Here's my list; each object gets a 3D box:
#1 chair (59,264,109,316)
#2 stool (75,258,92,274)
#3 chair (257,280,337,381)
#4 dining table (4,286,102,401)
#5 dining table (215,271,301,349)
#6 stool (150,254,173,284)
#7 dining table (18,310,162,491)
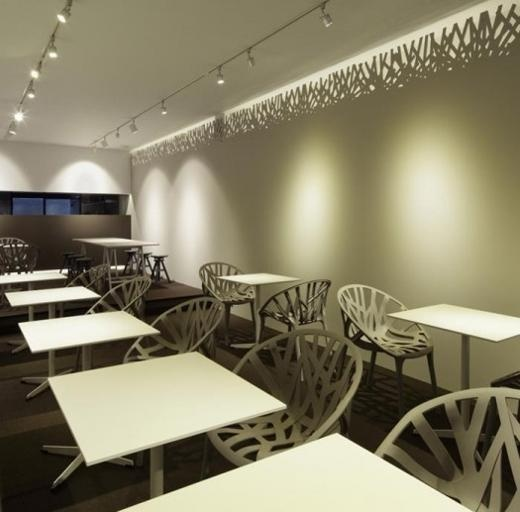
[{"bbox_3d":[-2.010,0.403,4.659,0.531,0.854,0.567,4,0,-34],"label":"chair"},{"bbox_3d":[-2.982,0.140,6.849,0.247,0.324,0.248,9,11,44],"label":"stool"},{"bbox_3d":[0.355,0.577,3.828,0.666,1.005,0.618,-4,8,-40],"label":"chair"},{"bbox_3d":[-1.690,0.642,3.438,0.779,0.952,0.777,-2,5,-36],"label":"dining table"},{"bbox_3d":[0.006,0.420,4.298,0.727,0.884,0.756,-1,2,-36],"label":"dining table"},{"bbox_3d":[-1.970,0.244,7.852,0.446,0.739,0.475,1,0,-32],"label":"stool"},{"bbox_3d":[-0.934,0.834,2.408,0.822,1.018,0.770,-3,6,-35],"label":"dining table"}]
